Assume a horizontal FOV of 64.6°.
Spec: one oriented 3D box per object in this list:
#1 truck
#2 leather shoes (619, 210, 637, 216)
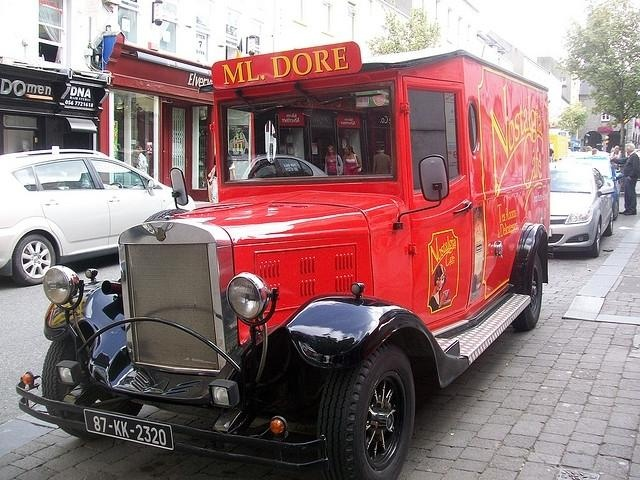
[{"bbox_3d":[0.313,-0.216,5.025,2.786,2.807,5.222,2,6,34],"label":"truck"},{"bbox_3d":[12.004,-1.038,19.695,0.556,0.268,0.202,5,4,10],"label":"leather shoes"}]
